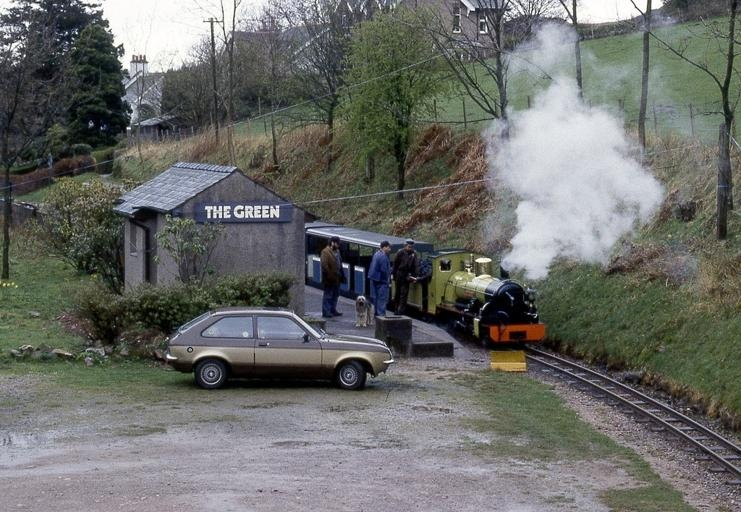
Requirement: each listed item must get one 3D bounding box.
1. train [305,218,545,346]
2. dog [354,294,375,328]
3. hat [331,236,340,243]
[{"bbox_3d":[1.280,1.222,41.712,3.144,3.873,16.285,-3,9,-28],"label":"train"},{"bbox_3d":[-0.182,1.998,37.726,0.387,1.145,1.712,1,-8,16],"label":"dog"},{"bbox_3d":[-1.276,-0.622,37.357,0.215,0.239,0.186,-1,9,16],"label":"hat"}]
